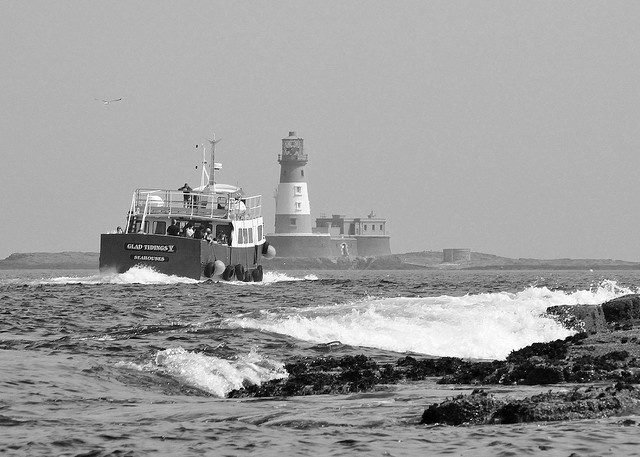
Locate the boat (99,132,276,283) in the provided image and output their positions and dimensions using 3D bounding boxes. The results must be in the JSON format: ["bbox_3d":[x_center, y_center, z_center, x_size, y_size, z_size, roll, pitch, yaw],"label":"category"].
[{"bbox_3d":[-8.387,-0.058,51.127,5.803,9.508,18.352,-1,-5,14],"label":"boat"}]
